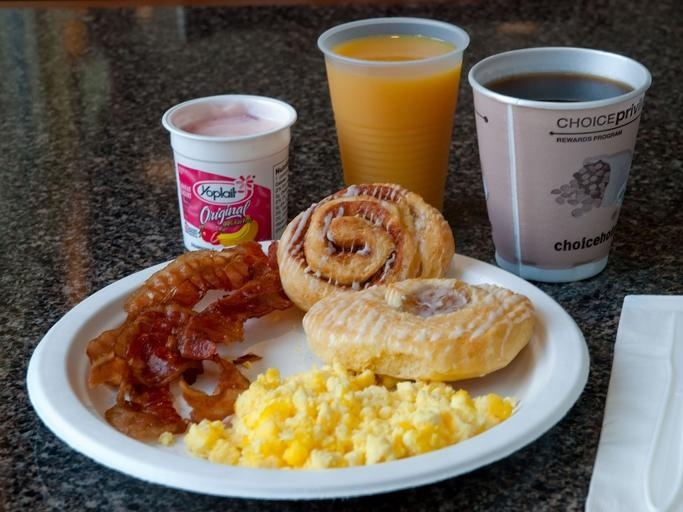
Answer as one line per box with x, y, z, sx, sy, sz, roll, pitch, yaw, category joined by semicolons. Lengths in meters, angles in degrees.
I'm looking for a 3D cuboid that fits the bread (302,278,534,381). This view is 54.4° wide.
0.091;0.078;0.776;0.261;0.061;0.178;-1;23;-1;bread

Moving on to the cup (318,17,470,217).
0.084;-0.220;1.075;0.296;0.326;0.262;-2;35;-1;cup

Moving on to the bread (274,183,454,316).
0.024;-0.015;0.839;0.192;0.061;0.156;-37;64;-18;bread

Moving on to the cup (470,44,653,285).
0.228;-0.131;0.976;0.314;0.307;0.295;-3;31;2;cup

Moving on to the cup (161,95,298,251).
-0.145;-0.121;0.937;0.177;0.167;0.190;-2;40;2;cup
